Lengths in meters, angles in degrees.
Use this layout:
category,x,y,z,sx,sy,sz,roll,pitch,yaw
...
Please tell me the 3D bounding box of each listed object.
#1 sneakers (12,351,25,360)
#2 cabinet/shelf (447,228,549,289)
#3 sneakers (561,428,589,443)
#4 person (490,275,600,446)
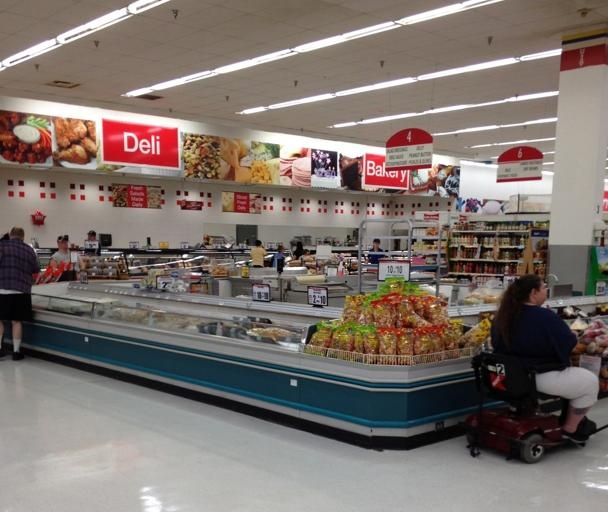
category,x,y,z,sx,sy,sz,roll,pitch,yaw
sneakers,-3.808,1.319,6.203,0.142,0.117,0.345,0,0,-30
cabinet/shelf,4.066,0.016,9.703,1.674,1.117,0.669,-1,-4,44
sneakers,1.883,1.272,3.258,0.245,0.081,0.096,1,3,-2
person,1.668,0.735,3.147,0.715,1.213,0.325,0,0,-6
